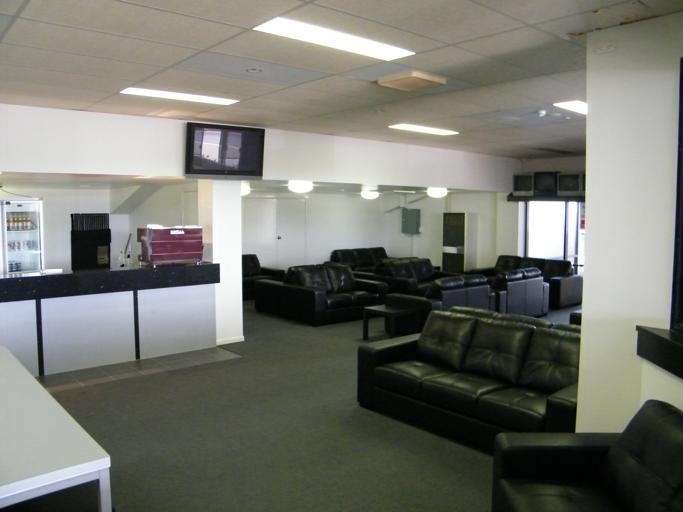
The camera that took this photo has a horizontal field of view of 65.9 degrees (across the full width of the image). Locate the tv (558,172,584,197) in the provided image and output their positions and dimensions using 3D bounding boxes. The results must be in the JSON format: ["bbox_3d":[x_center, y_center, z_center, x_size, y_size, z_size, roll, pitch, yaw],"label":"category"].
[{"bbox_3d":[4.683,-1.470,10.667,0.298,0.456,0.565,2,-1,-34],"label":"tv"}]

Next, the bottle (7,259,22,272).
[{"bbox_3d":[-4.345,0.124,7.014,0.152,0.137,0.150,0,1,-39],"label":"bottle"}]

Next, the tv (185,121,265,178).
[{"bbox_3d":[-1.644,-1.495,7.247,0.854,0.573,0.086,0,2,-26],"label":"tv"}]

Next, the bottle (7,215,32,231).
[{"bbox_3d":[-4.275,-0.464,7.012,0.270,0.223,0.091,-4,9,-29],"label":"bottle"}]

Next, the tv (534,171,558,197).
[{"bbox_3d":[4.288,-1.509,11.079,0.471,0.472,0.481,3,0,45],"label":"tv"}]
